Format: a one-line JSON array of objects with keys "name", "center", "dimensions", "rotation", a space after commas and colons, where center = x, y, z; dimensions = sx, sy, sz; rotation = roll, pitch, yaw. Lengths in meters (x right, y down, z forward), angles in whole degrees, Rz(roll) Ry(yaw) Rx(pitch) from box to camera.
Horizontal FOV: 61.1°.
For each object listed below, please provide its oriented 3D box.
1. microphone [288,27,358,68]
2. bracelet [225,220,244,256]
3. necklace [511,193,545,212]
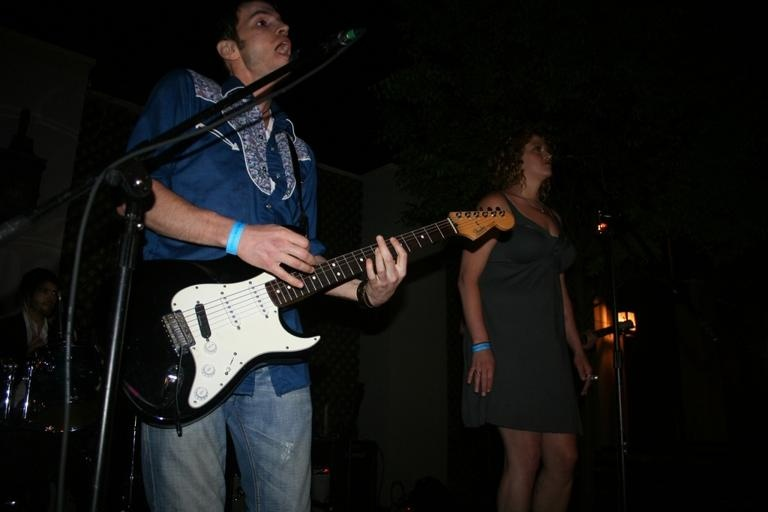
[{"name": "microphone", "center": [-0.327, -1.204, 3.738], "dimensions": [0.417, 0.225, 0.093], "rotation": [-2, -19, 3]}, {"name": "bracelet", "center": [-0.884, -0.108, 3.843], "dimensions": [0.038, 0.161, 0.159], "rotation": [11, -8, 4]}, {"name": "necklace", "center": [1.097, -0.388, 4.864], "dimensions": [0.316, 0.119, 0.042], "rotation": [15, -51, -36]}]
